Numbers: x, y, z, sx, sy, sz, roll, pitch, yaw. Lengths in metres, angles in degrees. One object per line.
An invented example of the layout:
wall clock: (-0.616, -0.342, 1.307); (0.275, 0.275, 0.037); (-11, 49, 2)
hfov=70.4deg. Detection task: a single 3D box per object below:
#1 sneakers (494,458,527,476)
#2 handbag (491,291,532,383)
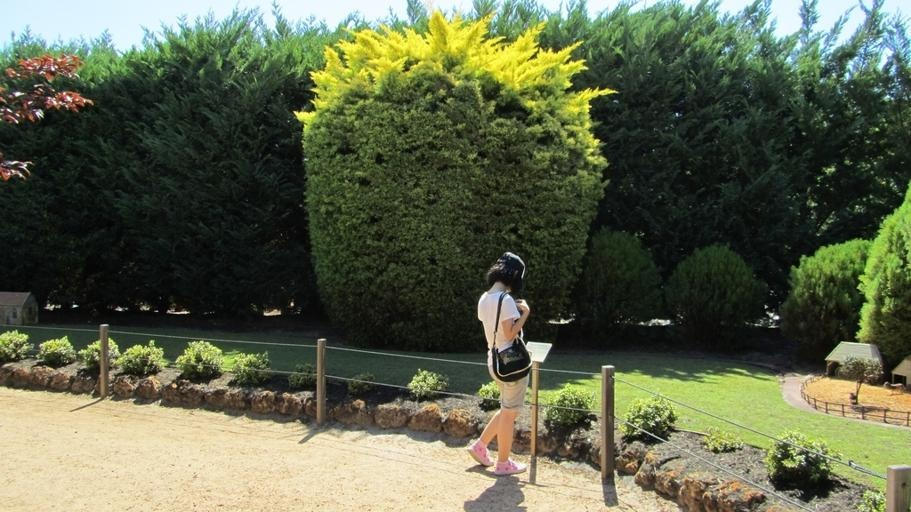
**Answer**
sneakers: (1.140, 4.257, 13.182); (0.666, 0.257, 0.286); (-2, 0, -10)
handbag: (1.110, 1.618, 12.778); (0.821, 1.734, 0.318); (4, -4, 4)
